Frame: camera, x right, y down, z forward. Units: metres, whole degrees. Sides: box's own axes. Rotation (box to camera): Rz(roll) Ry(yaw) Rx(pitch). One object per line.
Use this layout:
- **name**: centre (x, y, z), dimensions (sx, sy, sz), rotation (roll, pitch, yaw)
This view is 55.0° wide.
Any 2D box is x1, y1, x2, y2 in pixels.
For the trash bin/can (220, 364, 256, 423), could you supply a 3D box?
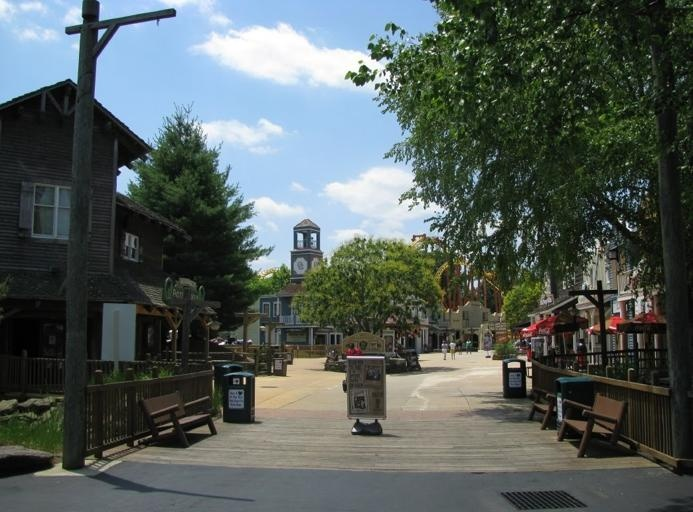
- **trash bin/can**: centre (-2.967, 3.920, 18.387), dimensions (0.874, 1.421, 0.709), rotation (1, -8, -10)

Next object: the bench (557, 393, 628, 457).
- **bench**: centre (5.304, 3.653, 14.402), dimensions (0.923, 1.232, 1.670), rotation (4, -4, 3)

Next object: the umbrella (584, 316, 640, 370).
- **umbrella**: centre (11.945, 3.863, 29.612), dimensions (2.398, 2.058, 2.499), rotation (-1, -11, -2)

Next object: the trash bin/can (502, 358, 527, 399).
- **trash bin/can**: centre (6.003, 4.366, 23.679), dimensions (0.795, 1.415, 1.342), rotation (-2, -9, 12)

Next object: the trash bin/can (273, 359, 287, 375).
- **trash bin/can**: centre (-3.806, 6.271, 37.436), dimensions (0.751, 1.071, 0.795), rotation (-4, -9, 19)
